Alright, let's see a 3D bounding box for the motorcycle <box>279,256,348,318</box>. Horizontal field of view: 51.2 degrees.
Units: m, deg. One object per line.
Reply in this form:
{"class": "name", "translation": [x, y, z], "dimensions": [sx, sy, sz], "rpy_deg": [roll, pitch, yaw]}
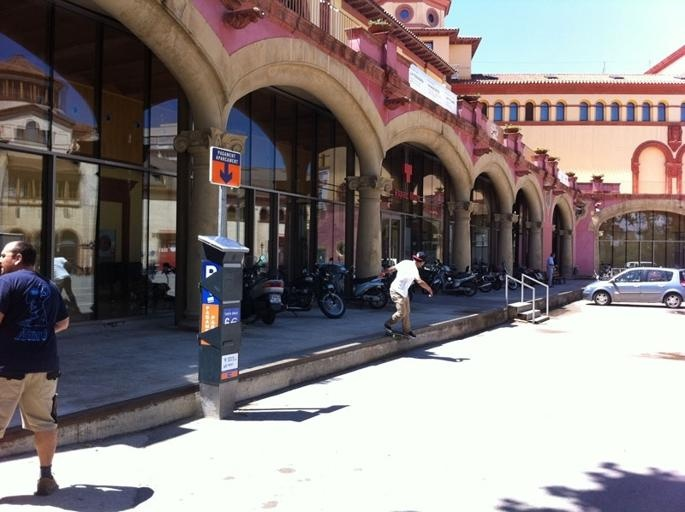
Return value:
{"class": "motorcycle", "translation": [-0.877, 0.684, 16.361], "dimensions": [1.967, 1.478, 1.251], "rpy_deg": [3, 5, 15]}

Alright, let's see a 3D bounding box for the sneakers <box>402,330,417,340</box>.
{"class": "sneakers", "translation": [1.285, 1.514, 13.722], "dimensions": [0.280, 0.152, 0.112], "rpy_deg": [3, 10, 3]}

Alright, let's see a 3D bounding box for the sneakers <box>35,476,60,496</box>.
{"class": "sneakers", "translation": [-2.943, 2.298, 7.169], "dimensions": [0.092, 0.122, 0.260], "rpy_deg": [1, 1, 5]}

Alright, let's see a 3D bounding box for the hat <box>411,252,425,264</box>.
{"class": "hat", "translation": [1.772, 0.031, 16.819], "dimensions": [0.273, 0.327, 0.367], "rpy_deg": [9, 21, 28]}

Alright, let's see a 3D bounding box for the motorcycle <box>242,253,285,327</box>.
{"class": "motorcycle", "translation": [-1.790, 0.753, 15.003], "dimensions": [0.642, 1.211, 1.705], "rpy_deg": [3, -1, -33]}
